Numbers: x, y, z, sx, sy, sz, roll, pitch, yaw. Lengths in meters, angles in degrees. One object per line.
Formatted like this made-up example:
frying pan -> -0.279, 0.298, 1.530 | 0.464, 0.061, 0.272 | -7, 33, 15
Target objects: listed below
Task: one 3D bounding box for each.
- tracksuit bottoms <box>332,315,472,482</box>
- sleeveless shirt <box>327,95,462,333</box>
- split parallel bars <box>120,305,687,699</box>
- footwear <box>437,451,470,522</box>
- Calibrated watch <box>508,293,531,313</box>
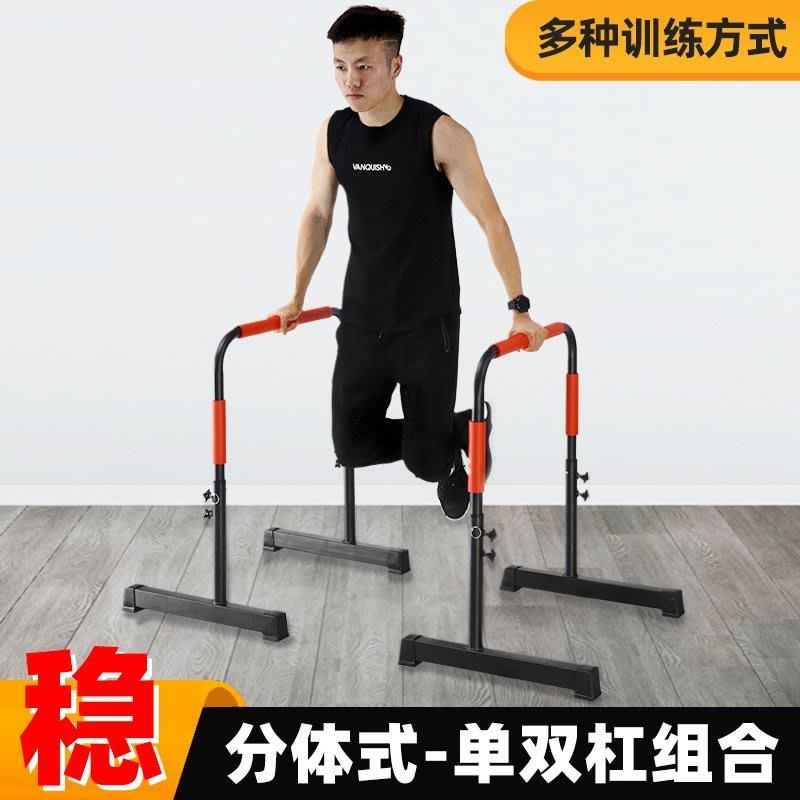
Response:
tracksuit bottoms -> -0.016, -0.075, 2.373 | 0.311, 0.585, 0.385 | 3, 21, 1
sleeveless shirt -> -0.028, -0.497, 2.160 | 0.359, 0.612, 0.148 | 3, 11, 21
split parallel bars -> 0.037, 0.201, 2.204 | 1.458, 0.859, 0.852 | 5, 13, 23
footwear -> 0.161, 0.277, 2.398 | 0.067, 0.245, 0.095 | 2, 12, 13
Calibrated watch -> 0.301, -0.234, 1.959 | 0.053, 0.041, 0.058 | -9, 1, -5
